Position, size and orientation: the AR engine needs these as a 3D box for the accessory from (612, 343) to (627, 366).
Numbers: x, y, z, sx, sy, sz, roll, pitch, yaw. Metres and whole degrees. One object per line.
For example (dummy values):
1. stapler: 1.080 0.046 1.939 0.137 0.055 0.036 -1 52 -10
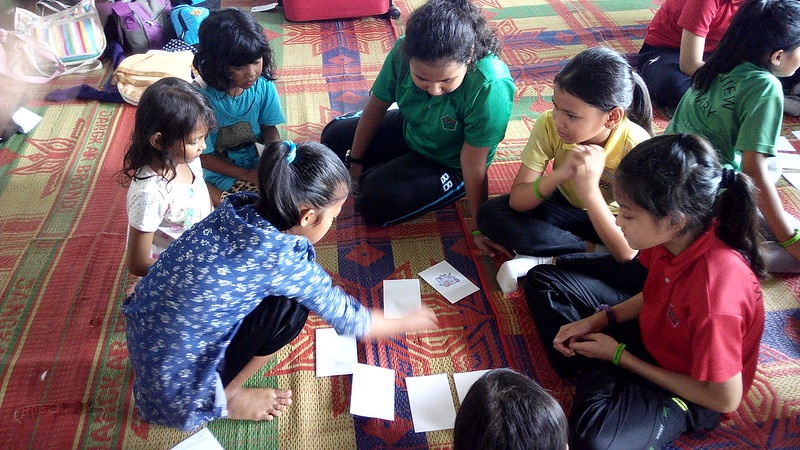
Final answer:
1. accessory: 1.238 0.741 2.805 0.040 0.091 0.104 16 67 9

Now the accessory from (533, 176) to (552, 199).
1. accessory: 0.894 -0.236 3.208 0.134 0.095 0.130 -3 78 -25

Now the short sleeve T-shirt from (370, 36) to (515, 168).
1. short sleeve T-shirt: 0.315 -0.926 3.562 1.136 0.808 0.585 29 58 23

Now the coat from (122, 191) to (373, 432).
1. coat: -0.968 0.221 2.837 1.443 1.239 0.979 -6 50 -30

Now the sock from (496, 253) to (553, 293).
1. sock: 0.831 0.308 3.312 0.308 0.101 0.240 -30 31 5

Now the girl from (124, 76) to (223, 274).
1. girl: -1.348 -0.282 2.962 0.544 1.338 0.581 10 54 -11

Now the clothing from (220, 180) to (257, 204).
1. clothing: -1.031 -0.210 3.159 0.242 0.073 0.065 1 74 -10

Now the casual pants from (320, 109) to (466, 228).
1. casual pants: -0.018 -0.290 3.682 1.017 0.311 0.999 -16 57 -4
